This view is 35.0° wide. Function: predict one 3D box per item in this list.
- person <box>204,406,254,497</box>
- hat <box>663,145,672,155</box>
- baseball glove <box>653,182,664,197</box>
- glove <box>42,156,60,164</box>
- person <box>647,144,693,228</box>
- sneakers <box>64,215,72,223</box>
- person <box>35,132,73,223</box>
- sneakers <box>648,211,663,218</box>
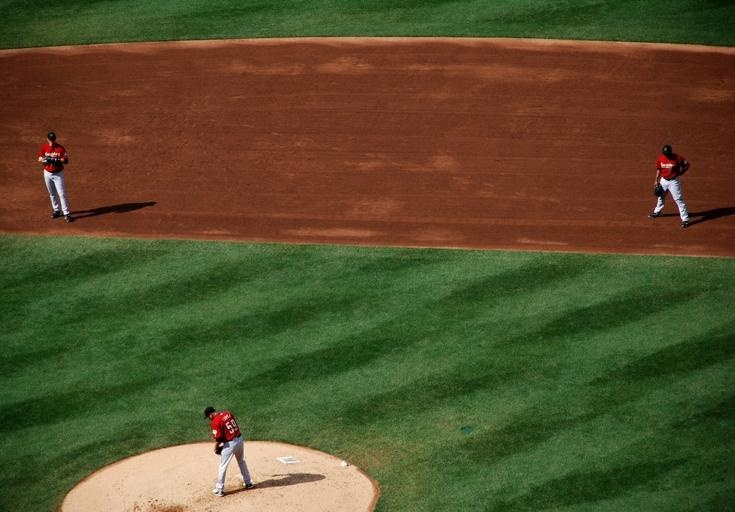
[{"bbox_3d":[-3.149,4.359,26.437,0.892,1.727,1.015,-7,21,-8],"label":"person"},{"bbox_3d":[7.738,-2.778,30.066,0.203,0.223,0.428,0,20,12],"label":"hat"},{"bbox_3d":[7.613,-1.792,30.472,0.243,0.305,0.304,0,-21,4],"label":"baseball glove"},{"bbox_3d":[-8.305,-2.547,30.604,0.340,0.191,0.171,16,-12,2],"label":"glove"},{"bbox_3d":[7.955,-1.934,30.619,1.015,2.203,0.987,1,21,14],"label":"person"},{"bbox_3d":[-8.052,-1.026,31.359,0.126,0.128,0.207,-2,7,-3],"label":"sneakers"},{"bbox_3d":[-8.304,-2.149,31.093,0.668,2.485,0.897,-10,22,-15],"label":"person"},{"bbox_3d":[7.621,-1.142,30.897,0.334,0.138,0.128,6,-8,0],"label":"sneakers"}]
